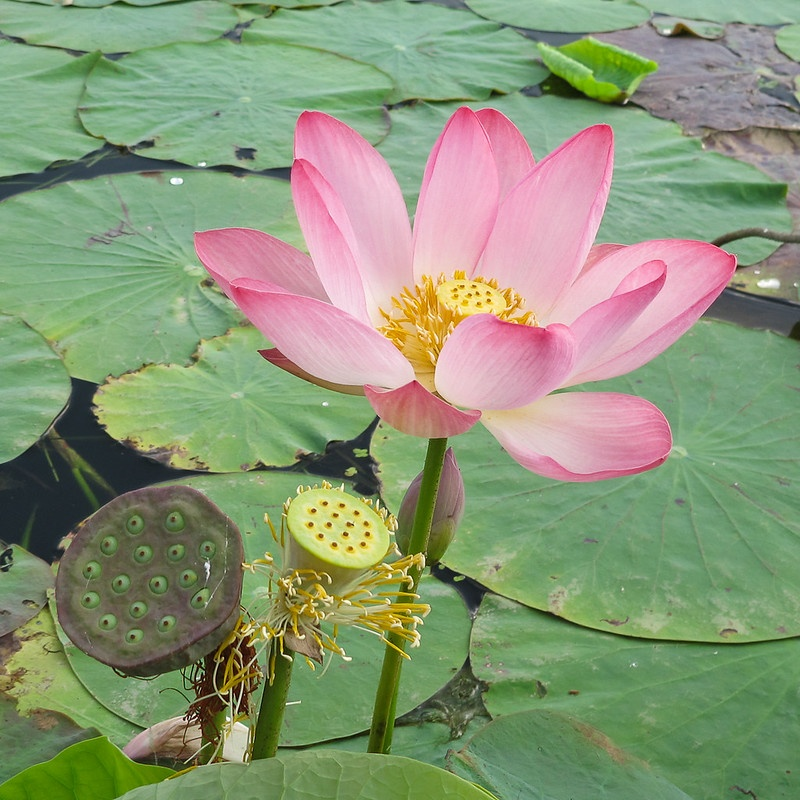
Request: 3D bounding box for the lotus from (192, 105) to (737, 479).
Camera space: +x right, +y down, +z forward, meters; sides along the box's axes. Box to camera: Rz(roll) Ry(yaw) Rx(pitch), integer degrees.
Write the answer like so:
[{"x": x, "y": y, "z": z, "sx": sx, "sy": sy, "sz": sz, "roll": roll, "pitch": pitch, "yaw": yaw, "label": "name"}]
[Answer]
[{"x": 0.116, "y": -0.154, "z": 1.029, "sx": 0.614, "sy": 0.290, "sz": 0.506, "roll": 28, "pitch": 44, "yaw": 21, "label": "lotus"}]
